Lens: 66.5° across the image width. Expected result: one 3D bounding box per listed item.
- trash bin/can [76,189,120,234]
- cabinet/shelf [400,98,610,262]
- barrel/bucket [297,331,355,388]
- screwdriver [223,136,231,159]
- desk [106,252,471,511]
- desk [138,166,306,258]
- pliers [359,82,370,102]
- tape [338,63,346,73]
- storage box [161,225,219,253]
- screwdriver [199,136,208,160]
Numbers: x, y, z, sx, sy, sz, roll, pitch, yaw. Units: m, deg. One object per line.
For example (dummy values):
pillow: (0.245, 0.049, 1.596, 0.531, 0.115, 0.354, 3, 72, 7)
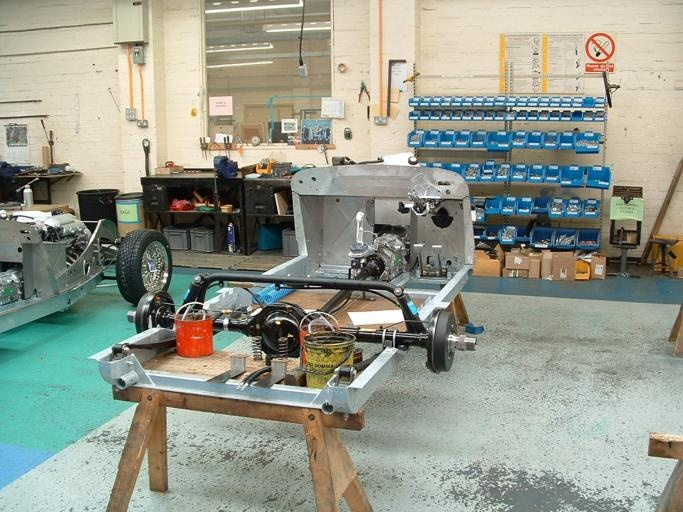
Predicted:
trash bin/can: (-3.617, -0.663, 7.723, 0.672, 0.500, 0.598, -4, 9, -29)
cabinet/shelf: (1.976, -0.908, 6.008, 3.002, 1.623, 0.532, 2, 10, 18)
barrel/bucket: (-0.068, 0.436, 2.262, 0.316, 0.200, 0.247, 0, -1, 2)
screwdriver: (-1.732, -1.654, 7.786, 0.103, 0.315, 0.054, -4, 15, -8)
desk: (-0.231, 0.479, 2.643, 1.462, 0.547, 1.487, 2, 7, 18)
desk: (-1.754, -0.674, 7.539, 2.531, 1.163, 0.850, 3, 14, 20)
pliers: (0.300, -2.322, 7.293, 0.169, 0.275, 0.074, 3, 16, 18)
tape: (-0.009, -2.649, 7.287, 0.144, 0.101, 0.092, 2, 13, 19)
storage box: (-2.218, -0.231, 7.471, 0.668, 0.195, 0.423, 6, 9, 44)
screwdriver: (-2.102, -1.659, 7.904, 0.135, 0.342, 0.103, -4, 15, -9)
